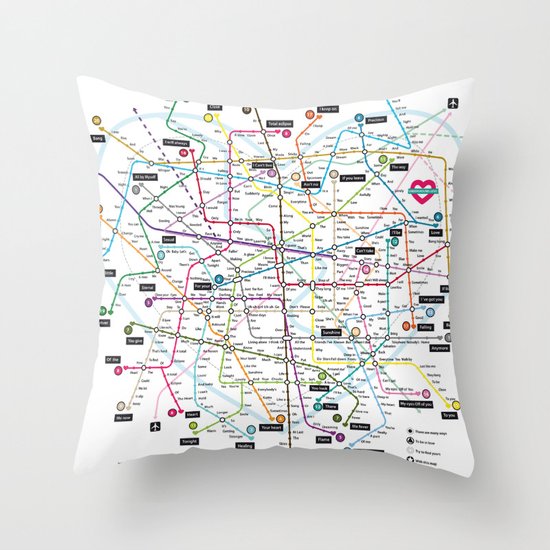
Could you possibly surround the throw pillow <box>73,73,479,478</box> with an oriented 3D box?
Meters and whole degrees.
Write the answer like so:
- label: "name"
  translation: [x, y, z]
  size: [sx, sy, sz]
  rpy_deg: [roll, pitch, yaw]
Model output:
- label: "throw pillow"
  translation: [0.025, 0.035, 1.969]
  size: [1.139, 1.163, 0.196]
  rpy_deg: [0, -4, 2]
